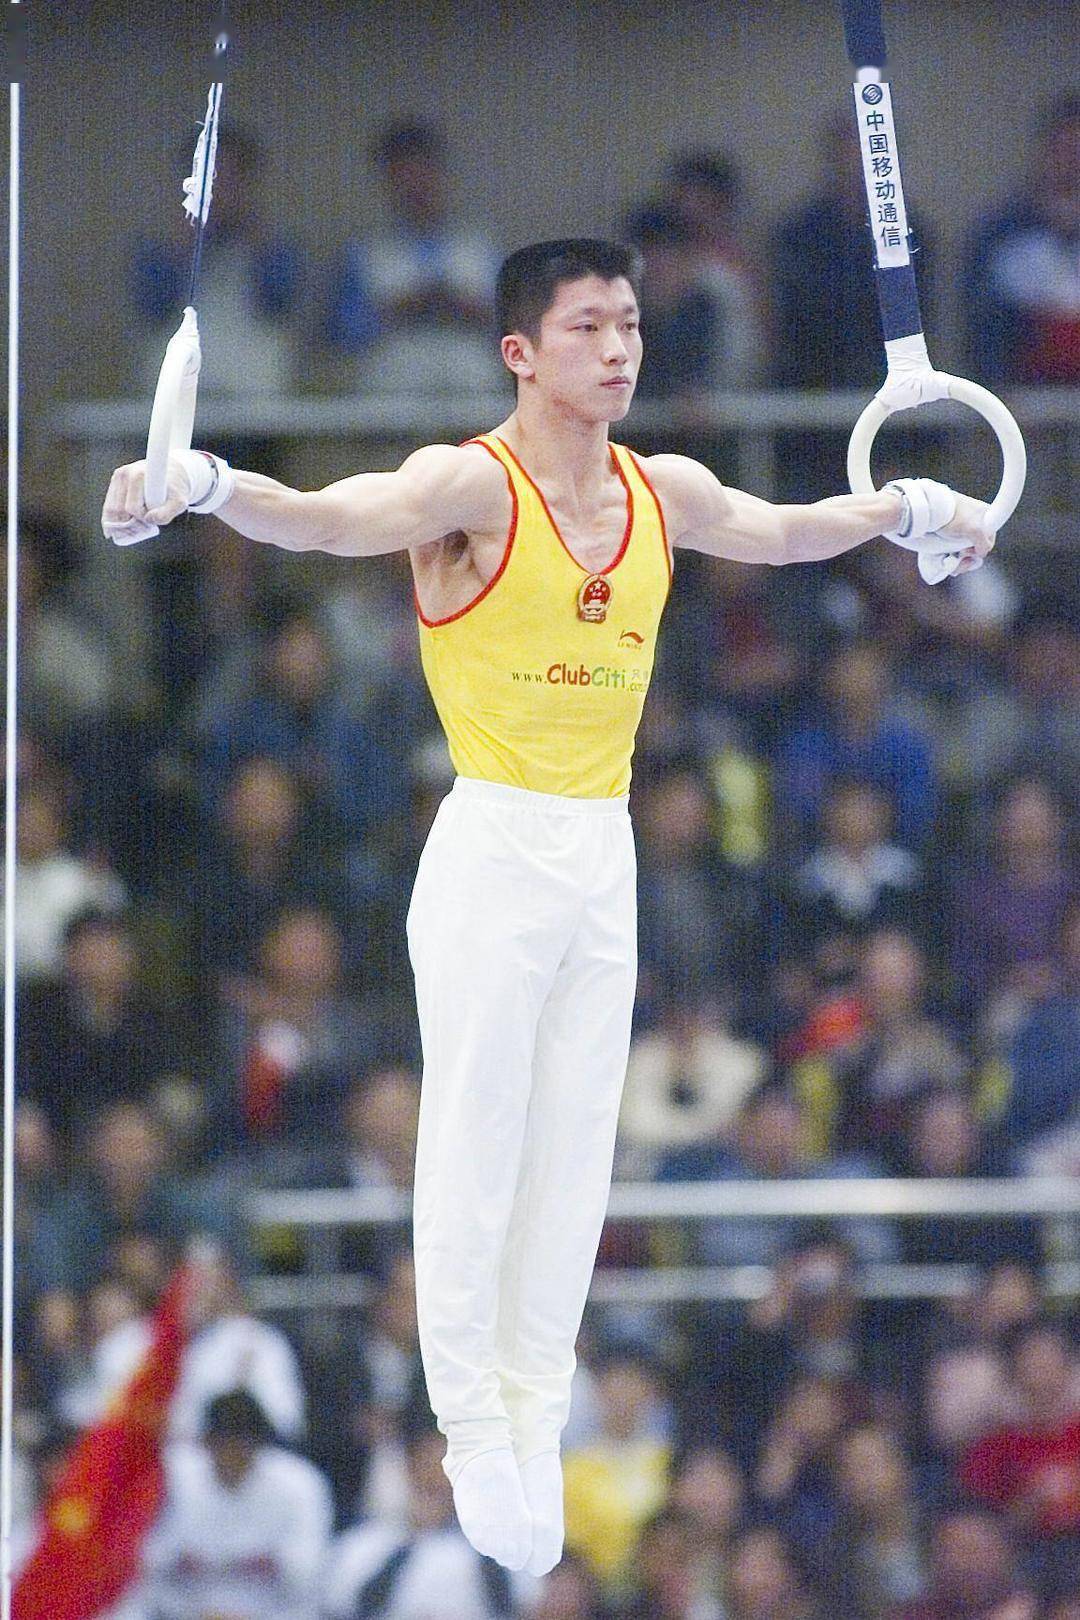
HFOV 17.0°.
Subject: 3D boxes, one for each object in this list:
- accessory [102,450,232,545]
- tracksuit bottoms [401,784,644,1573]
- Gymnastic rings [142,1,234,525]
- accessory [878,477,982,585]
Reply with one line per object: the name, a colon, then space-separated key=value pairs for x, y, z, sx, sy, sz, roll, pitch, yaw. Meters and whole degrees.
accessory: x=-0.491 y=-0.415 z=4.755 sx=0.086 sy=0.119 sz=0.179 roll=10 pitch=13 yaw=44
tracksuit bottoms: x=-0.035 y=0.517 z=5.052 sx=0.300 sy=1.094 sz=0.320 roll=1 pitch=9 yaw=-2
Gymnastic rings: x=-0.473 y=-0.714 z=4.840 sx=0.044 sy=0.719 sz=0.189 roll=14 pitch=32 yaw=8
accessory: x=0.560 y=-0.416 z=5.315 sx=0.168 sy=0.151 sz=0.088 roll=3 pitch=-3 yaw=-28
